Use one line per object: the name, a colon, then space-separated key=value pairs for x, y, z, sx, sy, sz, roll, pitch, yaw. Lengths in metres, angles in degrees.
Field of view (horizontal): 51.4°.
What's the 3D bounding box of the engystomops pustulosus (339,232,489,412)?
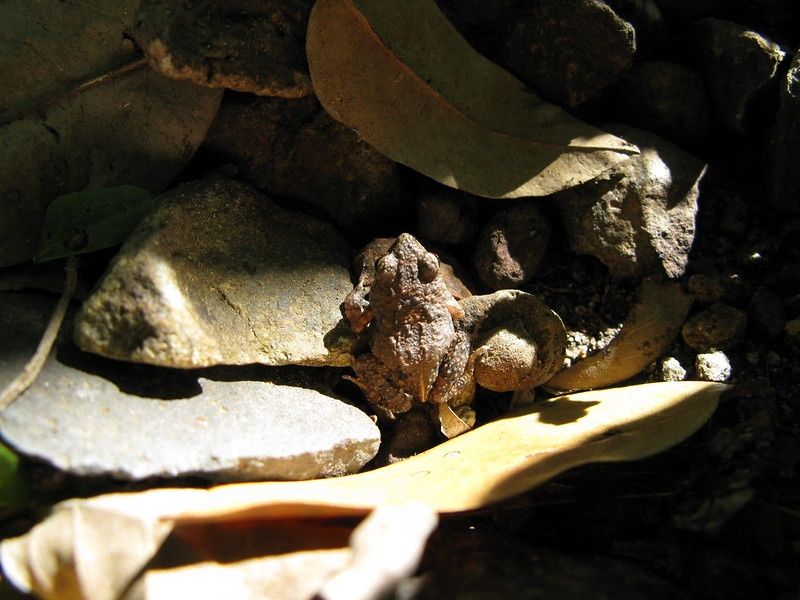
engystomops pustulosus: x=0.019 y=0.059 z=2.175 sx=0.377 sy=0.450 sz=0.156 roll=-7 pitch=4 yaw=-6
